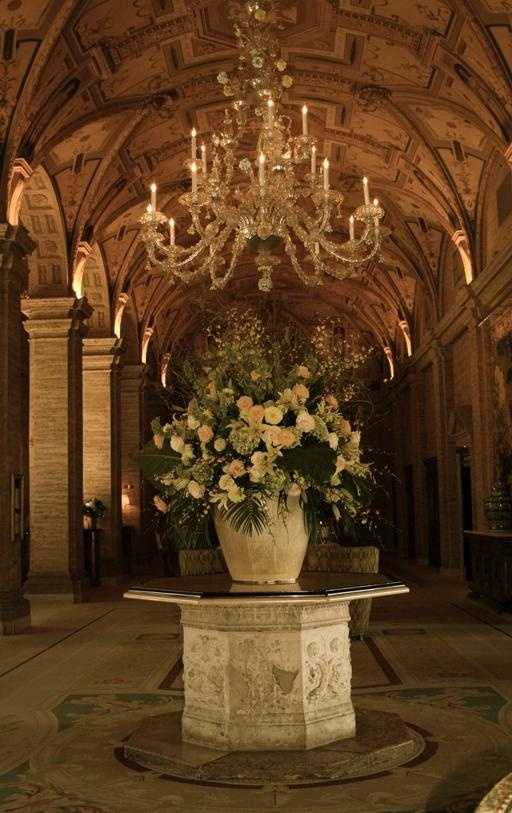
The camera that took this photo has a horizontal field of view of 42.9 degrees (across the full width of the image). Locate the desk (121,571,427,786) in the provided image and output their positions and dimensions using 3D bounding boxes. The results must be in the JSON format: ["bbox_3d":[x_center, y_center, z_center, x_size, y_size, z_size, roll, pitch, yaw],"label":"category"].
[{"bbox_3d":[0.091,1.086,2.649,1.221,0.763,0.996,0,-13,-11],"label":"desk"}]

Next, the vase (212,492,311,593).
[{"bbox_3d":[0.045,0.561,2.769,0.434,0.349,0.425,1,-6,-31],"label":"vase"}]

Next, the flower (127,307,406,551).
[{"bbox_3d":[-0.011,0.273,2.859,0.788,0.734,0.746,6,-20,-34],"label":"flower"}]

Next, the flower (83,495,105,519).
[{"bbox_3d":[-3.303,2.081,13.468,0.425,0.440,0.425,-5,-8,16],"label":"flower"}]

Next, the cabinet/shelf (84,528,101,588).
[{"bbox_3d":[-3.171,2.836,12.241,0.328,0.969,0.304,2,3,-27],"label":"cabinet/shelf"}]
